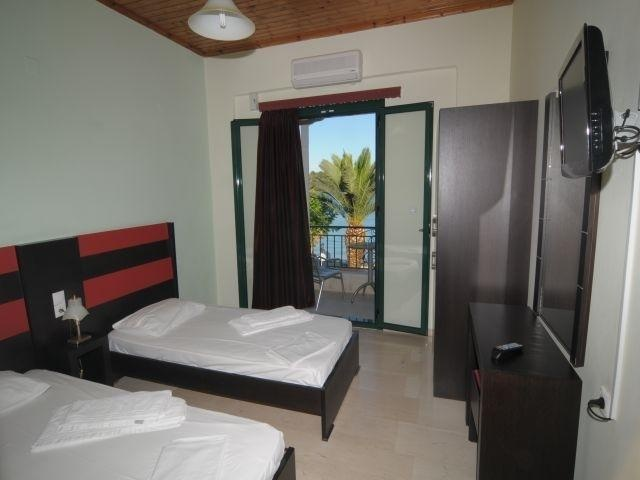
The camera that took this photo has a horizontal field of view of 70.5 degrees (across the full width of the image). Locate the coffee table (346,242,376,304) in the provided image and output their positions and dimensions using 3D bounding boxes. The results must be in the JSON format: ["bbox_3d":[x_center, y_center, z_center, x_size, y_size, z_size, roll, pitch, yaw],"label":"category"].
[{"bbox_3d":[0.675,0.433,6.502,0.659,0.868,0.684,0,2,-1],"label":"coffee table"}]

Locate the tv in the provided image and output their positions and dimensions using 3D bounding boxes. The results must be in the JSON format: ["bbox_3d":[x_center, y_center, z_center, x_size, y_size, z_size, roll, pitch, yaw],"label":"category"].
[{"bbox_3d":[1.524,-0.771,2.596,0.166,0.818,0.546,2,10,14],"label":"tv"}]

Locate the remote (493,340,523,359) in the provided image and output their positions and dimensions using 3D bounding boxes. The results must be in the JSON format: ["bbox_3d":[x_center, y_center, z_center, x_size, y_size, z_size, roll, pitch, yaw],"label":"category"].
[{"bbox_3d":[1.214,0.706,2.949,0.198,0.064,0.091,-7,8,-37],"label":"remote"}]

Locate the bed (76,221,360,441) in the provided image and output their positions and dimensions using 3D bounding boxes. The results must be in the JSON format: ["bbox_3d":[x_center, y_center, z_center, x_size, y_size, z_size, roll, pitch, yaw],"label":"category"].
[{"bbox_3d":[-0.838,0.734,4.260,2.261,1.595,1.508,5,9,19],"label":"bed"}]
